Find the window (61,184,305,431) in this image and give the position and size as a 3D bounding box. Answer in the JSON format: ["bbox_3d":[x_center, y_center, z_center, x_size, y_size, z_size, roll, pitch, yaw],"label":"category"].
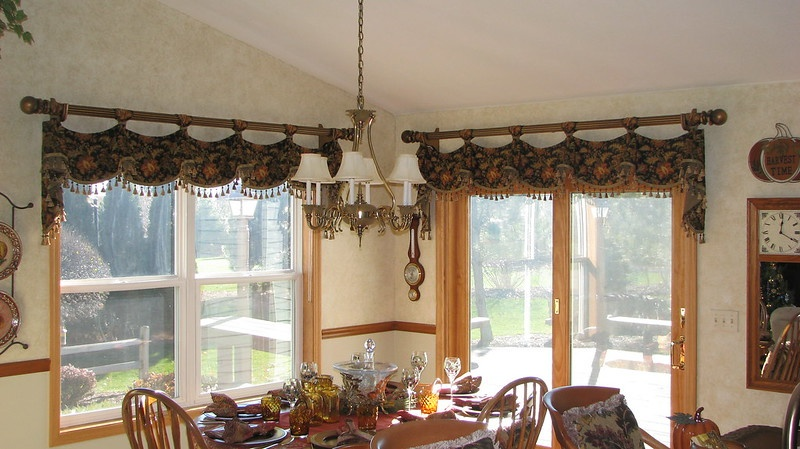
[{"bbox_3d":[-2.045,0.744,5.749,2.528,2.113,0.239,-2,3,-26],"label":"window"}]

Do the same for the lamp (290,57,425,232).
[{"bbox_3d":[-0.313,-0.604,5.096,1.161,1.275,1.127,0,-2,-8],"label":"lamp"}]

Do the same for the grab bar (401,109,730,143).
[{"bbox_3d":[1.549,-0.926,6.111,2.857,0.192,0.294,-1,-2,19],"label":"grab bar"}]

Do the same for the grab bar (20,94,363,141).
[{"bbox_3d":[-2.182,-0.941,5.676,0.187,0.208,2.254,-1,1,37],"label":"grab bar"}]

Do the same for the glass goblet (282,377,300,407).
[{"bbox_3d":[-0.783,1.256,4.784,0.143,0.199,0.104,1,-2,-29],"label":"glass goblet"}]

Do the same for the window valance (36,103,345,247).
[{"bbox_3d":[-1.943,-0.457,5.758,2.601,1.028,0.407,-3,11,-43],"label":"window valance"}]

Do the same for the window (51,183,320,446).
[{"bbox_3d":[-2.009,0.794,5.671,2.722,2.226,0.188,1,-3,-31],"label":"window"}]

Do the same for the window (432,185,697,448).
[{"bbox_3d":[1.617,0.839,5.860,2.955,3.048,0.355,0,-2,20],"label":"window"}]
